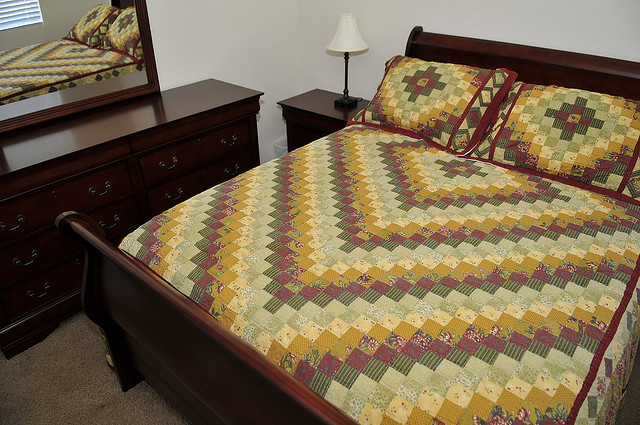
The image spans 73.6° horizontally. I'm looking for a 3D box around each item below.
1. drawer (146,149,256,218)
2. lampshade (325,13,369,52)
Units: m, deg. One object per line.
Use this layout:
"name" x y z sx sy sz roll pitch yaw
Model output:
"drawer" -0.947 -0.216 3.241 0.453 0.423 0.160 -32 48 -33
"lampshade" 0.151 -1.645 3.961 0.446 0.349 0.447 8 22 11
